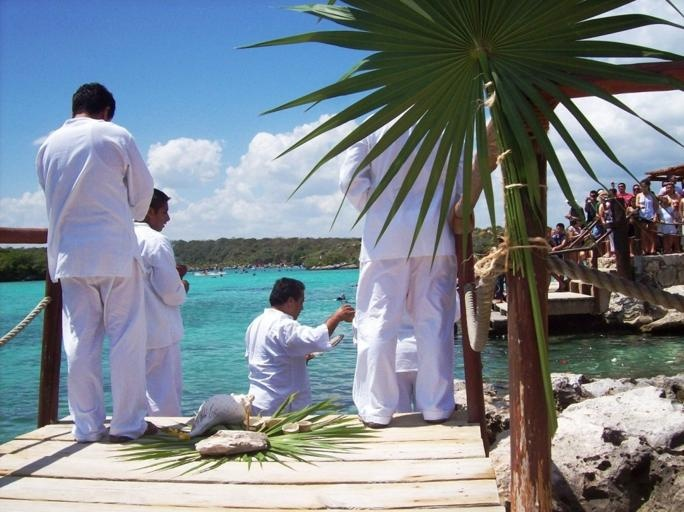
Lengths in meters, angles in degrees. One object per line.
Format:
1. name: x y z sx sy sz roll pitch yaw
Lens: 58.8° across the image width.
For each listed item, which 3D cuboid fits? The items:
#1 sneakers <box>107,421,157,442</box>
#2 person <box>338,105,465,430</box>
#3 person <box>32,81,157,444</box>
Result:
1. sneakers: -1.452 1.233 4.266 0.383 0.091 0.192 1 -4 -38
2. person: 0.442 0.093 4.419 0.887 2.200 0.569 -1 -3 0
3. person: -1.756 0.141 4.341 0.761 2.298 0.455 0 -3 -23
